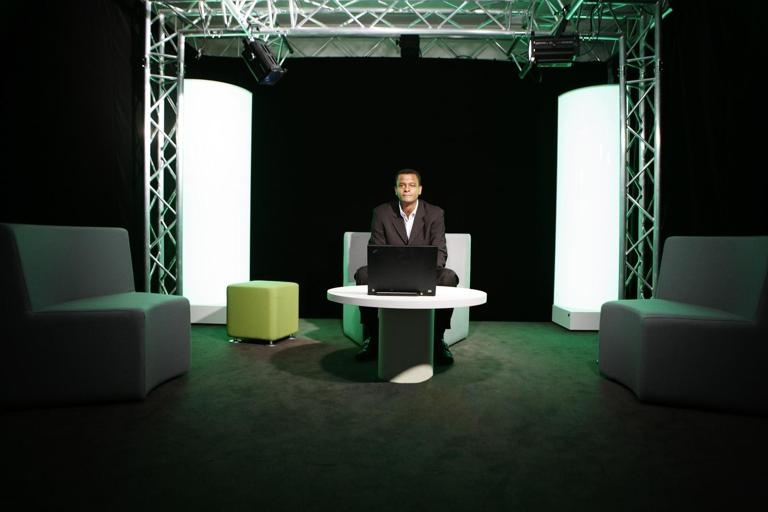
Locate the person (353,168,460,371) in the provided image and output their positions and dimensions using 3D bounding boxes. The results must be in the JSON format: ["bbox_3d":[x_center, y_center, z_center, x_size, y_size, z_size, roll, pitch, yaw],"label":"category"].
[{"bbox_3d":[0.260,0.062,5.585,1.047,1.860,1.050,2,2,42],"label":"person"}]

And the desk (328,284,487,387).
[{"bbox_3d":[0.199,0.683,5.077,1.390,0.844,1.403,6,7,44],"label":"desk"}]

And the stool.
[{"bbox_3d":[-1.351,0.554,6.102,0.761,0.616,0.750,-7,12,-42],"label":"stool"}]

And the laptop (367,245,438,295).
[{"bbox_3d":[0.116,0.023,4.727,0.564,0.444,0.463,0,28,-7],"label":"laptop"}]
